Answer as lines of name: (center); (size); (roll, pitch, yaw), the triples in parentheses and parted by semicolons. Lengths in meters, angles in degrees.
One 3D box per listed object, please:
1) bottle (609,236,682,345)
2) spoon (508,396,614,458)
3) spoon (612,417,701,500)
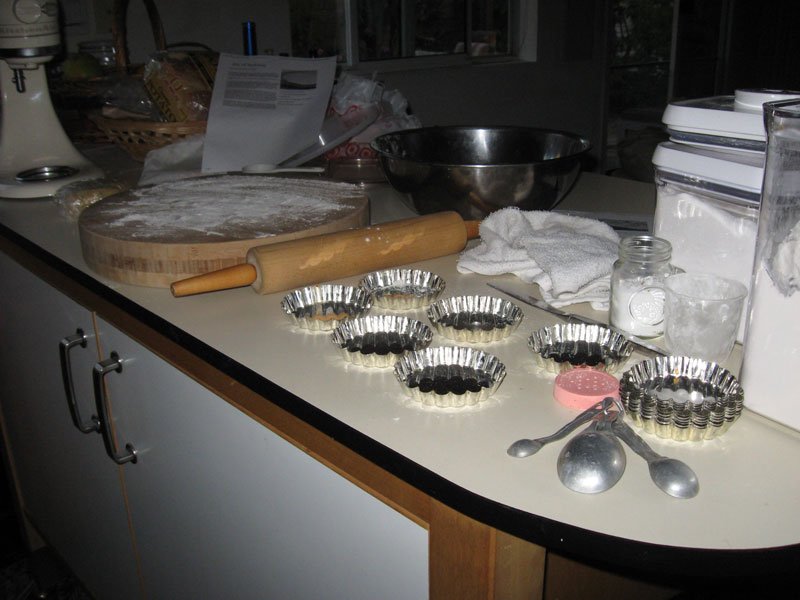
bottle: (0.269, -0.016, 0.686); (0.078, 0.130, 0.119); (6, 22, 21)
spoon: (0.149, 0.119, 0.533); (0.080, 0.016, 0.017); (-24, -8, -15)
spoon: (0.215, 0.137, 0.483); (0.029, 0.025, 0.095); (-28, 25, -3)
